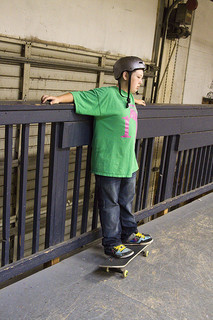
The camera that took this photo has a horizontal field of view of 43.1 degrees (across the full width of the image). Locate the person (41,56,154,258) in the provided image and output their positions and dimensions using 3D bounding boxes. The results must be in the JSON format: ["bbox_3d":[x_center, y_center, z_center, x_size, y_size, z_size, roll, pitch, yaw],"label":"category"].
[{"bbox_3d":[0.018,0.008,1.630,0.785,0.946,0.273,4,3,-28],"label":"person"}]

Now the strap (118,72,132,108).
[{"bbox_3d":[0.103,-0.401,1.564,0.086,0.162,0.108,6,3,3],"label":"strap"}]

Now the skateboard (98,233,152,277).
[{"bbox_3d":[0.130,0.585,1.677,0.160,0.168,0.470,7,3,26],"label":"skateboard"}]
